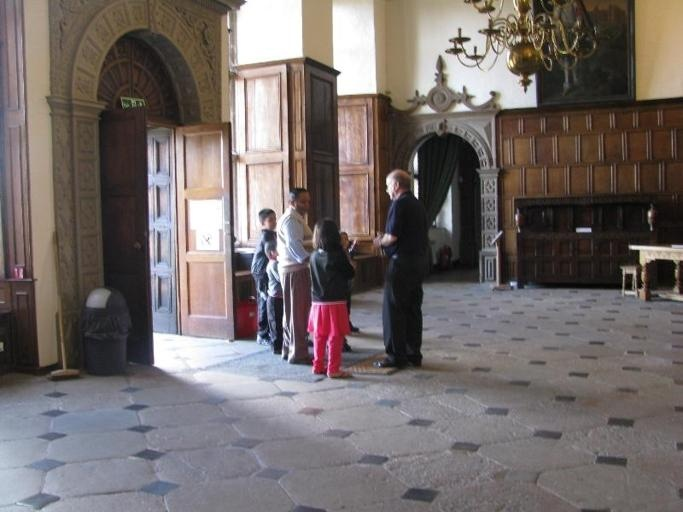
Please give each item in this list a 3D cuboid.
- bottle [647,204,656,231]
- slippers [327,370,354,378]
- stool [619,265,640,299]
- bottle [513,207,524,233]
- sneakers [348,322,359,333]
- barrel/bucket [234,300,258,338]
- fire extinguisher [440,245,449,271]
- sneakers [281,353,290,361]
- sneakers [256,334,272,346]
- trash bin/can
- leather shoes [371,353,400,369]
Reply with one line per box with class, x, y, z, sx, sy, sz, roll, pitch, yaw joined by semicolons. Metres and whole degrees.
bottle;5.934;-0.739;10.623;0.128;0.517;0.412;1;5;28
slippers;-0.015;1.126;5.243;0.222;0.111;0.087;-2;-3;-8
stool;5.126;0.437;9.819;0.404;0.548;0.445;-1;1;8
bottle;3.550;-0.714;11.059;0.165;0.493;0.224;0;4;20
sneakers;0.158;0.924;7.236;0.088;0.133;0.285;-1;-9;-1
barrel/bucket;-1.246;0.782;7.200;0.247;0.480;0.289;0;14;-17
fire extinguisher;2.856;0.029;15.304;0.316;0.606;0.300;-1;4;2
sneakers;-0.607;1.081;5.958;0.063;0.134;0.072;3;-5;-26
sneakers;-0.941;1.008;6.690;0.103;0.082;0.154;1;-3;24
trash bin/can;-2.406;0.753;5.680;0.417;0.850;0.473;5;8;21
leather shoes;0.435;1.050;5.516;0.274;0.138;0.108;3;1;15
